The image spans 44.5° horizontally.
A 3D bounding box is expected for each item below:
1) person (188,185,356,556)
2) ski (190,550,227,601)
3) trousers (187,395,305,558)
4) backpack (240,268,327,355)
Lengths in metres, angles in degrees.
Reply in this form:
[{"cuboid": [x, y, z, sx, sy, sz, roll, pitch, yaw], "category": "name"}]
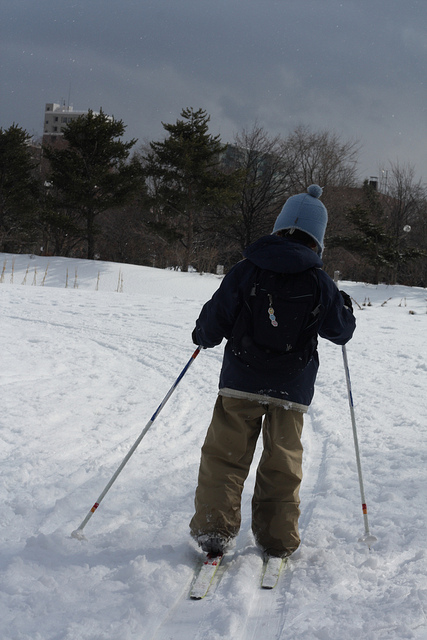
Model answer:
[{"cuboid": [0.268, 0.330, 2.420, 0.713, 1.448, 0.461, 1, 7, -3], "category": "person"}, {"cuboid": [-0.030, 1.048, 2.145, 0.063, 0.025, 0.314, 4, 7, 15], "category": "ski"}, {"cuboid": [0.161, 0.694, 2.361, 0.463, 0.661, 0.313, 3, 7, 9], "category": "trousers"}, {"cuboid": [0.308, -0.056, 2.213, 0.320, 0.394, 0.166, 8, 8, 1], "category": "backpack"}]
